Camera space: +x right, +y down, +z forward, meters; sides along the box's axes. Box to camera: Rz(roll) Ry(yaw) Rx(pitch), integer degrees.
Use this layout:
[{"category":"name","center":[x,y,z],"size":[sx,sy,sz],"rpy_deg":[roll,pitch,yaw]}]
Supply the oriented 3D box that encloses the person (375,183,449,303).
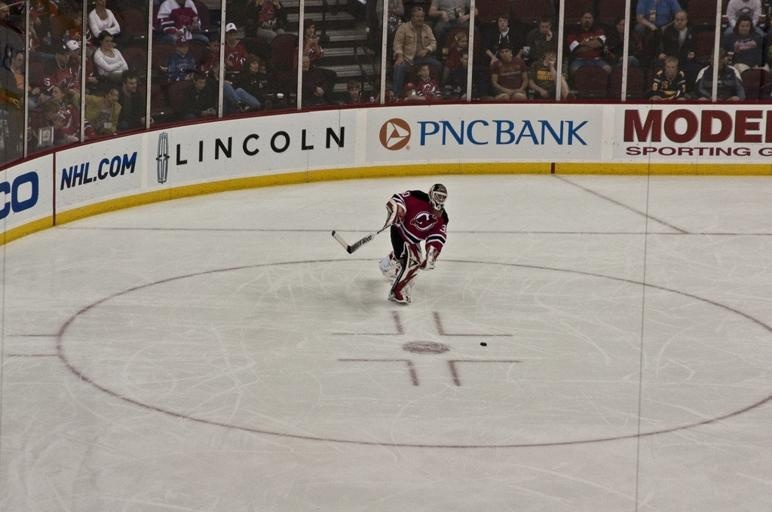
[{"category":"person","center":[0.376,-0.168,15.085],"size":[0.788,1.490,0.639],"rpy_deg":[-1,8,0]}]

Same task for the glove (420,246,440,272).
[{"category":"glove","center":[0.517,0.024,15.079],"size":[0.226,0.284,0.141],"rpy_deg":[18,7,-28]}]

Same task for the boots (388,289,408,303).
[{"category":"boots","center":[0.138,0.508,14.915],"size":[0.200,0.137,0.163],"rpy_deg":[-1,6,-45]}]

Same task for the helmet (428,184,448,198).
[{"category":"helmet","center":[0.687,-0.839,15.021],"size":[0.238,0.187,0.258],"rpy_deg":[5,1,-31]}]

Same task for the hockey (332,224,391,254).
[{"category":"hockey","center":[-0.297,-0.223,15.634],"size":[0.508,0.108,0.484],"rpy_deg":[-34,37,-19]}]
